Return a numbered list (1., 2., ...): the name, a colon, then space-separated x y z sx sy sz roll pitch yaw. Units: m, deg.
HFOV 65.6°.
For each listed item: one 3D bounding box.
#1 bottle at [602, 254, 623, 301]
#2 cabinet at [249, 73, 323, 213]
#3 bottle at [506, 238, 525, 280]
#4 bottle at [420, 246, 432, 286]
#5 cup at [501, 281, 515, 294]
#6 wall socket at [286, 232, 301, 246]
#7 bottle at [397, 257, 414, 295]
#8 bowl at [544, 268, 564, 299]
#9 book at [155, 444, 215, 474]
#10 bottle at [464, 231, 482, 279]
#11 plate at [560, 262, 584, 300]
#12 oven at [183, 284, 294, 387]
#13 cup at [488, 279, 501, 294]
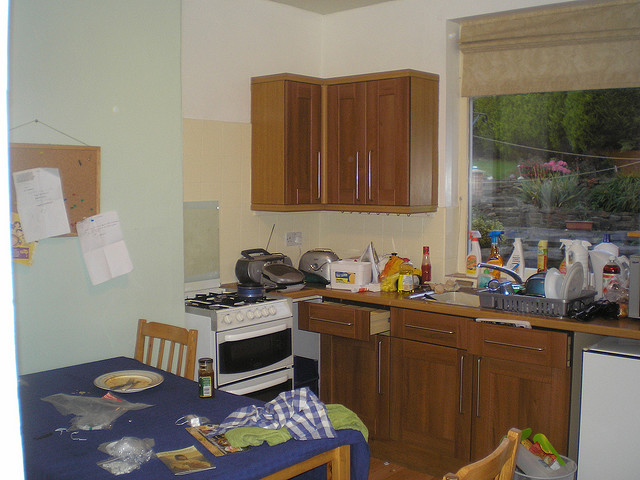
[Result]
1. bottle: 1.755 0.224 2.981 0.104 0.251 0.154 3 10 32
2. cabinet: -0.252 -0.766 4.070 0.456 1.049 0.599 5 10 30
3. bottle: 1.441 0.129 3.605 0.118 0.297 0.308 4 10 38
4. bottle: 0.822 0.198 3.812 0.080 0.281 0.246 0 8 12
5. cup: 1.141 0.289 2.998 0.080 0.056 0.057 -5 9 -22
6. wall socket: -0.225 -0.014 4.319 0.016 0.113 0.167 6 11 43
7. bottle: 0.625 0.239 3.579 0.115 0.310 0.113 -6 34 4
8. bowl: 1.338 0.238 2.834 0.031 0.128 0.128 1 -25 40
9. book: -0.410 0.673 1.517 0.130 0.015 0.166 -7 9 -32
10. bottle: 1.147 0.114 3.727 0.120 0.348 0.550 0 8 17
11. plate: 1.465 0.230 2.865 0.066 0.199 0.314 5 11 39
12. oven: -0.553 0.672 3.339 0.479 0.564 0.611 -1 0 45
13. cup: 1.062 0.284 3.016 0.071 0.066 0.093 1 8 18
